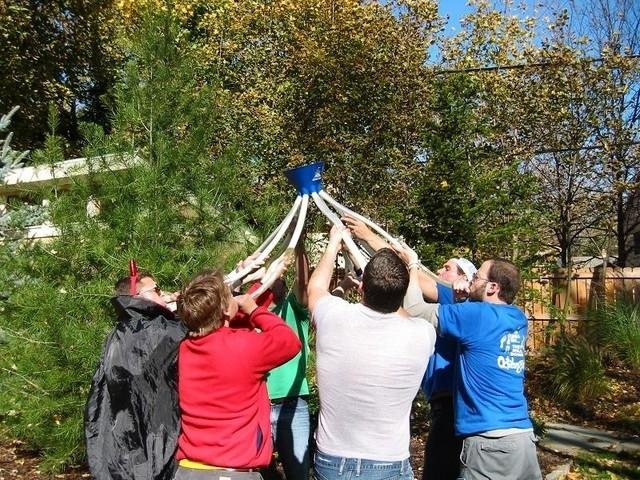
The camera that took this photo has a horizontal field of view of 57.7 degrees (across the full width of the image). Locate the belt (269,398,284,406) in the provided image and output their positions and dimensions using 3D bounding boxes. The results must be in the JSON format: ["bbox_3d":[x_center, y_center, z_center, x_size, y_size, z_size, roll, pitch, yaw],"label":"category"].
[{"bbox_3d":[-0.385,1.443,5.218,0.071,0.057,0.076,0,-7,0],"label":"belt"}]
